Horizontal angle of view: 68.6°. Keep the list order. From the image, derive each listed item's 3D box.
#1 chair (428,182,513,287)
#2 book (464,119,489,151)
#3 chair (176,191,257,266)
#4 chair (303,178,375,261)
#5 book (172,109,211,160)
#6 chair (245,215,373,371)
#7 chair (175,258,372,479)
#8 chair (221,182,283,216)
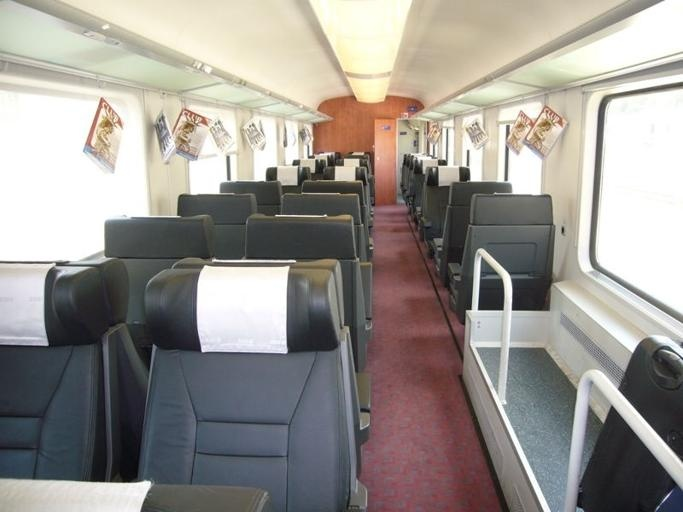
[{"bbox_3d":[1.476,-0.487,6.967,0.926,1.566,1.221,-1,9,-5],"label":"chair"},{"bbox_3d":[2.482,-2.215,9.147,0.127,0.320,0.546,9,50,-32],"label":"book"},{"bbox_3d":[-1.290,-0.350,5.556,0.865,0.937,0.669,0,4,0],"label":"chair"},{"bbox_3d":[-0.005,-0.444,5.899,0.766,1.134,0.958,1,8,6],"label":"chair"},{"bbox_3d":[-1.660,-1.297,5.621,0.384,0.567,0.165,18,3,4],"label":"book"},{"bbox_3d":[-0.167,0.216,3.638,0.878,1.302,0.744,0,10,4],"label":"chair"},{"bbox_3d":[-0.163,0.418,2.784,0.845,1.350,1.202,-1,11,8],"label":"chair"},{"bbox_3d":[-1.169,-0.867,6.850,0.844,0.667,0.511,1,14,-1],"label":"chair"}]
